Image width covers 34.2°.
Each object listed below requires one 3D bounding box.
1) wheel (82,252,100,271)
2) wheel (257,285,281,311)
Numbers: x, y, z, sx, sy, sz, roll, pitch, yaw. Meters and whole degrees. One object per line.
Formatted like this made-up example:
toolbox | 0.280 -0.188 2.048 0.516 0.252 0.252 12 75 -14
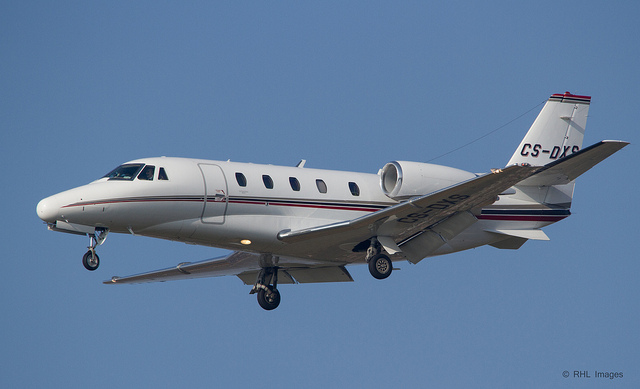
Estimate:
wheel | -5.122 1.525 23.139 0.323 0.598 0.356 9 -50 -11
wheel | -1.223 2.605 26.455 0.762 0.582 0.296 16 -9 -5
